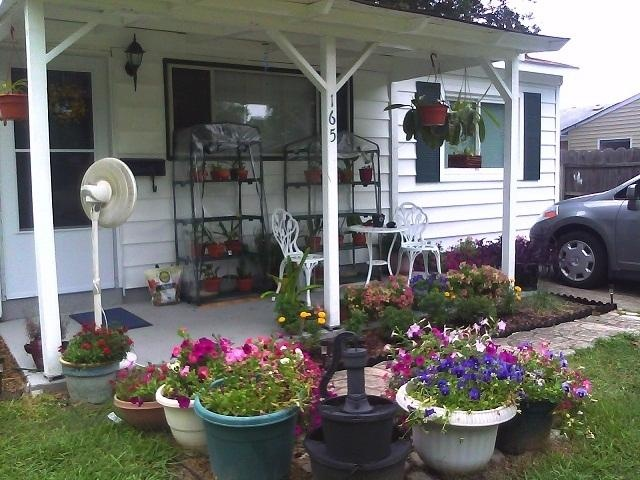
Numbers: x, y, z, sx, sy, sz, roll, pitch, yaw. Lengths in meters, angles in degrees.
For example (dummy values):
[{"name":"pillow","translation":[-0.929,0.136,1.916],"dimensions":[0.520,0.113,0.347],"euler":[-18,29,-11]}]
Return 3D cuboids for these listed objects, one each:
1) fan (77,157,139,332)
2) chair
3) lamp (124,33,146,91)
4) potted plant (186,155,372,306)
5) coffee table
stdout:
[{"name":"fan","translation":[-1.657,0.018,4.143],"dimensions":[0.522,1.320,0.318],"euler":[3,7,44]},{"name":"chair","translation":[1.344,0.068,7.289],"dimensions":[0.485,1.231,0.692],"euler":[-1,3,-22]},{"name":"lamp","translation":[-2.081,-2.031,5.996],"dimensions":[0.227,0.626,0.265],"euler":[-4,5,-27]},{"name":"potted plant","translation":[-1.186,-0.211,6.675],"dimensions":[2.067,1.697,1.056],"euler":[-1,9,-32]},{"name":"coffee table","translation":[0.803,0.149,7.196],"dimensions":[0.723,0.732,0.697],"euler":[-3,9,-25]}]
